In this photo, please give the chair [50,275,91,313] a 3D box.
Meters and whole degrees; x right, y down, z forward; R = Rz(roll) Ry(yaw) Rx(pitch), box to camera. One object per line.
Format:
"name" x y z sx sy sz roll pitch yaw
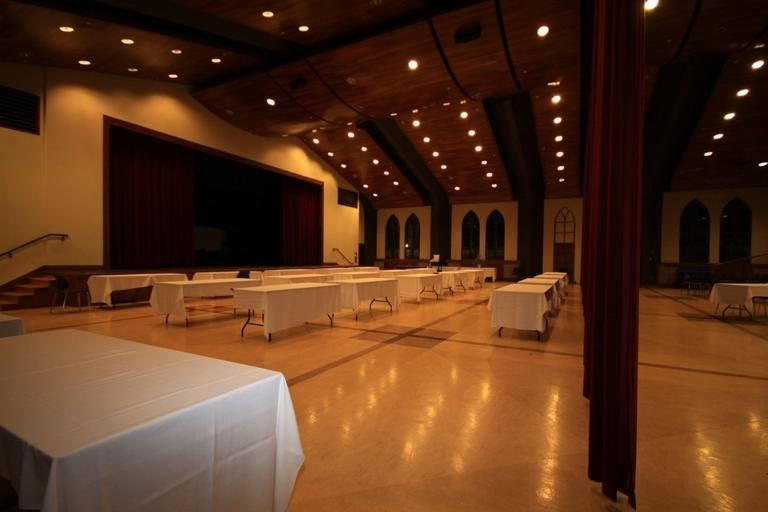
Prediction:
"chair" -6.907 0.802 10.984 0.514 0.799 0.482 -5 -2 -14
